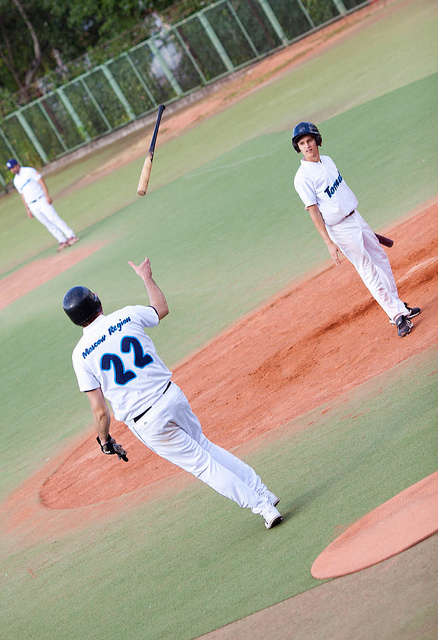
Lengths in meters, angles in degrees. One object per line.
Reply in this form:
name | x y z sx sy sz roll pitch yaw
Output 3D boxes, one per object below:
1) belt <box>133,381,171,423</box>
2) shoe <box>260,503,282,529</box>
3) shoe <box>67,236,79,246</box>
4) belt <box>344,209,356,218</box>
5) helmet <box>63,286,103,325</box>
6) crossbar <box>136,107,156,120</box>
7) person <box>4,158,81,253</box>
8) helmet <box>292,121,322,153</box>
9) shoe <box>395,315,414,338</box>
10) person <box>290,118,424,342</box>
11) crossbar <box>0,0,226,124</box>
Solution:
belt | -0.524 0.562 6.108 0.275 0.066 0.285 -39 -16 3
shoe | 0.372 1.440 6.222 0.101 0.105 0.253 -26 -7 0
shoe | -2.912 -1.585 16.950 0.205 0.172 0.197 -32 11 5
belt | 1.155 -0.947 7.598 0.111 0.027 0.029 -31 10 -16
helmet | -1.000 -0.111 6.174 0.246 0.299 0.211 -37 12 -6
crossbar | -2.352 -6.737 27.710 0.951 0.152 0.122 -25 33 13
person | -3.334 -2.162 16.098 0.692 2.012 1.590 -40 12 -4
helmet | 0.713 -1.652 7.632 0.290 0.256 0.349 -14 6 18
shoe | 1.645 0.054 7.716 0.162 0.188 0.121 -33 12 9
person | 1.195 -0.873 8.050 0.613 1.937 1.340 -38 11 8
crossbar | -3.582 -8.074 26.876 8.415 0.567 0.721 -23 14 24
